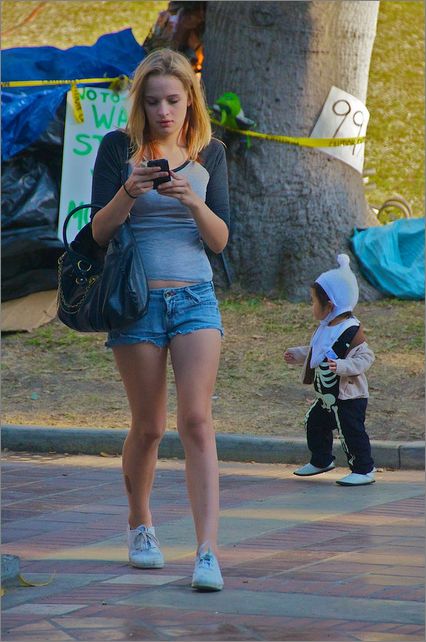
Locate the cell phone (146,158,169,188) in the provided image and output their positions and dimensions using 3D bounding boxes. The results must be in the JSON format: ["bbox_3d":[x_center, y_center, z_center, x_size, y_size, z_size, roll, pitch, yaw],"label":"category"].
[{"bbox_3d":[-0.194,-0.535,3.570,0.083,0.105,0.067,1,4,-4],"label":"cell phone"}]

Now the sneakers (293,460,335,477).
[{"bbox_3d":[0.597,0.883,5.881,0.261,0.075,0.085,-5,4,-6],"label":"sneakers"}]

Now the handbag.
[{"bbox_3d":[-0.429,-0.170,3.796,0.251,0.432,0.560,0,4,-21],"label":"handbag"}]

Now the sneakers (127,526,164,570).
[{"bbox_3d":[-0.268,0.900,3.871,0.095,0.081,0.229,-4,5,-17],"label":"sneakers"}]

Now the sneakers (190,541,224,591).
[{"bbox_3d":[-0.016,0.889,3.526,0.114,0.169,0.103,1,4,-1],"label":"sneakers"}]

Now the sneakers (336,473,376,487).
[{"bbox_3d":[0.816,0.901,5.590,0.169,0.049,0.080,0,-5,-8],"label":"sneakers"}]

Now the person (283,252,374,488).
[{"bbox_3d":[0.714,0.311,5.731,0.390,1.265,0.489,0,4,-12],"label":"person"}]
